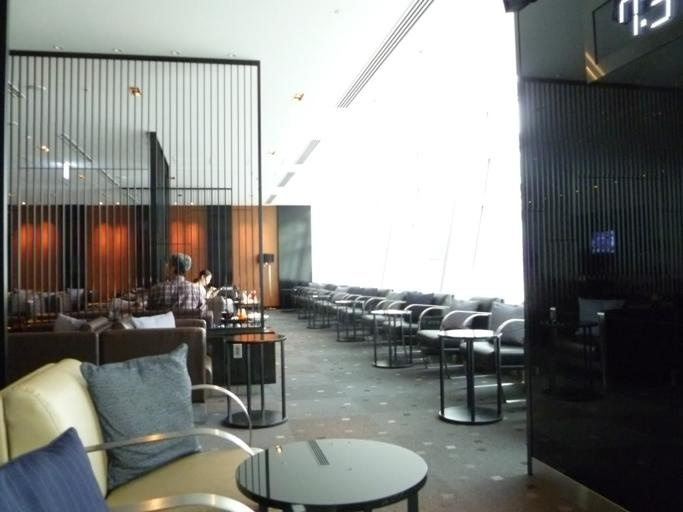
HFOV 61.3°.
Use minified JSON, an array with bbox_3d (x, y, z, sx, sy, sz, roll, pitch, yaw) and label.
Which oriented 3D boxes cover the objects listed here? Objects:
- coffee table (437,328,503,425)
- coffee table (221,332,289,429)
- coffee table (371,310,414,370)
[{"bbox_3d":[1.202,1.136,5.387,0.559,0.743,0.587,1,-7,-9],"label":"coffee table"},{"bbox_3d":[-0.797,1.164,5.348,0.571,0.733,0.598,-3,-5,9],"label":"coffee table"},{"bbox_3d":[0.751,1.169,8.385,0.637,0.805,0.669,1,0,-10],"label":"coffee table"}]
